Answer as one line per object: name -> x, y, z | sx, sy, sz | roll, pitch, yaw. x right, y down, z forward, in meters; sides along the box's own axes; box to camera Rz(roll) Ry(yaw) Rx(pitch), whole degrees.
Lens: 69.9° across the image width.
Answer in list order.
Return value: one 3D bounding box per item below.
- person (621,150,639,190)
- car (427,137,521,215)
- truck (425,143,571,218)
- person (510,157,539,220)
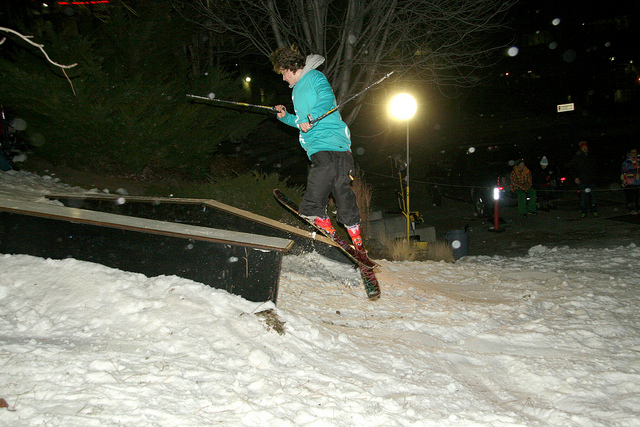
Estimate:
person -> 9.035, -1.263, 13.328 | 0.460, 1.057, 0.284 | -4, -6, 20
car -> 5.460, -1.244, 15.706 | 2.412, 1.979, 4.148 | -12, 15, -16
truck -> 5.649, -1.137, 15.647 | 2.714, 1.750, 4.455 | -8, 12, -19
person -> 6.342, -0.742, 14.224 | 0.500, 1.775, 0.829 | -7, -7, 43
